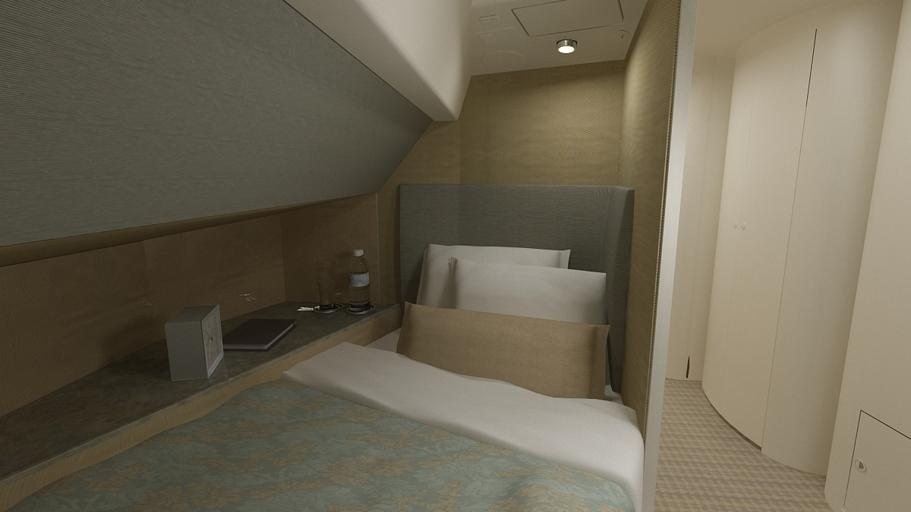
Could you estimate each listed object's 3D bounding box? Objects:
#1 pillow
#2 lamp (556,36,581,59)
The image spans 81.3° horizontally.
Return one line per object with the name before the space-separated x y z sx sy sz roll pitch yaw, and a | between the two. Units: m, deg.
pillow | 0.411 0.374 3.415 1.508 0.866 0.386 1 -13 12
lamp | 0.715 -1.340 3.411 0.146 0.079 0.121 4 10 7
